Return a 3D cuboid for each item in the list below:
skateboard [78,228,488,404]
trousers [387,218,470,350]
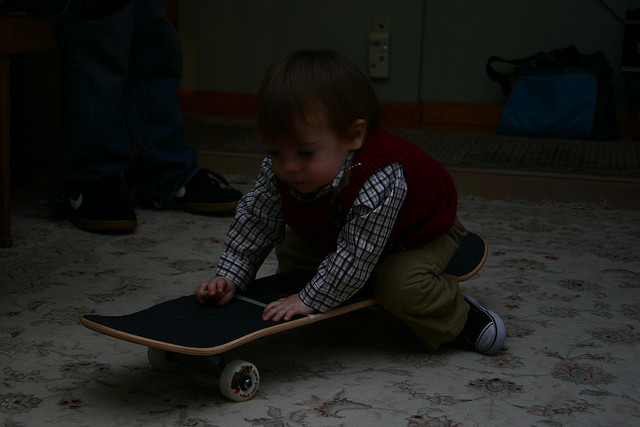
[{"bbox_3d":[0.052,0.130,1.233,1.054,0.167,0.277,-12,22,-36],"label":"skateboard"},{"bbox_3d":[0.237,0.137,1.153,0.180,0.084,0.252,19,32,-22],"label":"trousers"}]
